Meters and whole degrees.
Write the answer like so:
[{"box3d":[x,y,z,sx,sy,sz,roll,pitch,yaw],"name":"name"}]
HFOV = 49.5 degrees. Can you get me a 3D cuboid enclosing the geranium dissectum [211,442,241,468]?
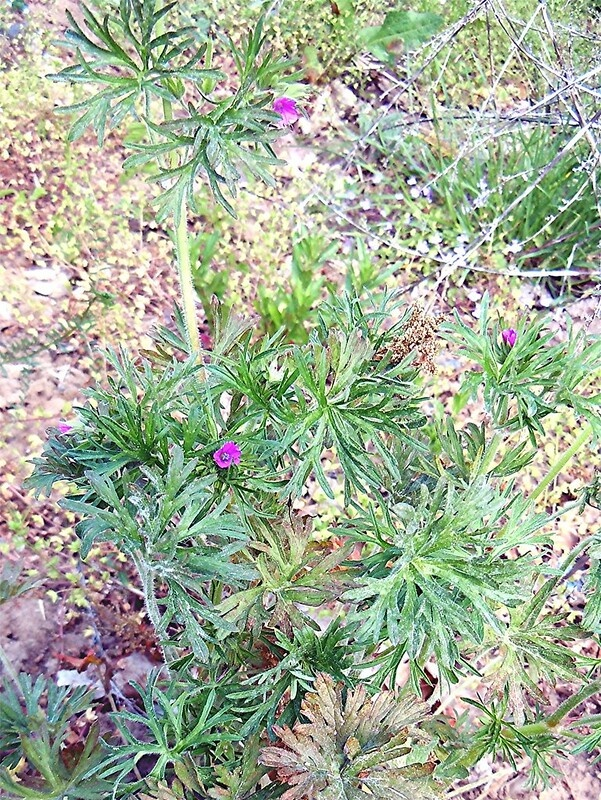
[{"box3d":[-0.127,0.097,1.129,0.046,0.045,0.023,-1,16,-23],"name":"geranium dissectum"}]
